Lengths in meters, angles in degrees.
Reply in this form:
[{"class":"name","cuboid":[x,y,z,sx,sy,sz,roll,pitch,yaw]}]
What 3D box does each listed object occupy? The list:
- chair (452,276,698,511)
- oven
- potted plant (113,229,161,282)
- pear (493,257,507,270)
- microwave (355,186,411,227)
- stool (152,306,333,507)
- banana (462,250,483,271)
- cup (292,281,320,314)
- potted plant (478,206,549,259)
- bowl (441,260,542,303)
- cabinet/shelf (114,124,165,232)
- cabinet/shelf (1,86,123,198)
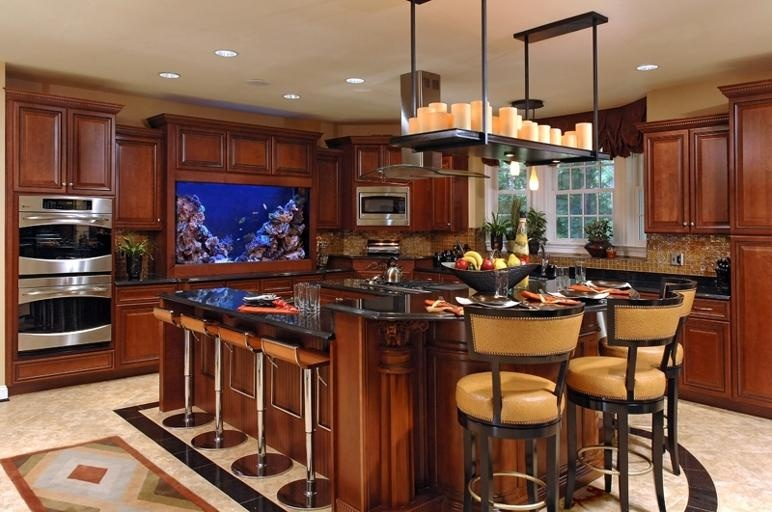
[{"class":"chair","cuboid":[2.030,0.964,5.057,1.855,2.442,1.692,1,0,42]},{"class":"oven","cuboid":[-3.383,0.167,5.921,0.994,1.629,0.389,-5,13,-22]},{"class":"potted plant","cuboid":[-2.985,-0.010,6.676,0.759,0.612,0.391,0,-1,-35]},{"class":"pear","cuboid":[0.976,0.061,4.775,0.113,0.128,0.104,-12,2,13]},{"class":"microwave","cuboid":[-0.103,-0.636,8.216,1.126,0.644,0.569,0,-1,-12]},{"class":"stool","cuboid":[-1.097,1.216,4.442,0.342,0.625,1.605,-7,10,-43]},{"class":"banana","cuboid":[0.727,0.027,4.859,0.060,0.137,0.202,-4,30,-39]},{"class":"cup","cuboid":[-0.621,0.328,4.419,0.268,0.220,0.242,-1,4,-20]},{"class":"potted plant","cuboid":[1.694,-0.307,7.350,0.951,0.706,0.320,1,1,30]},{"class":"bowl","cuboid":[0.875,0.189,4.862,0.874,0.250,0.740,-3,2,37]},{"class":"cabinet/shelf","cuboid":[-2.875,-0.907,6.534,0.614,1.186,0.254,-6,14,-28]},{"class":"cabinet/shelf","cuboid":[-3.398,-1.169,5.876,1.040,1.053,0.308,-5,13,-24]}]
